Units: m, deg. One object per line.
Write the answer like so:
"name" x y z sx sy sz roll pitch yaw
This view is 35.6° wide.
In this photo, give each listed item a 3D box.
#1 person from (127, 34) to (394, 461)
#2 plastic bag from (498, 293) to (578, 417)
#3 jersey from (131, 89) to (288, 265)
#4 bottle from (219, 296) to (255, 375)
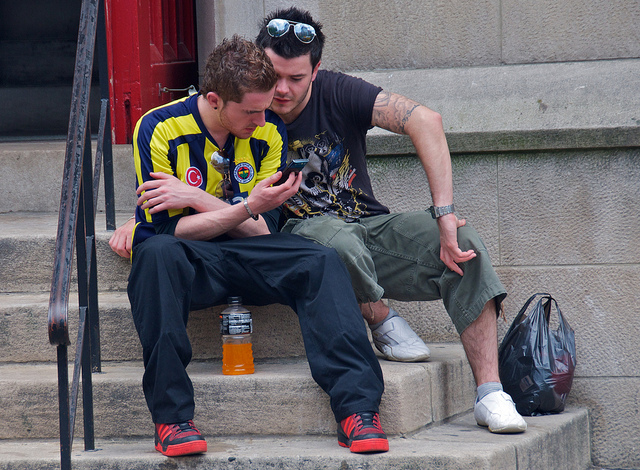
"person" -0.417 0.027 5.851 1.363 2.418 0.892 -2 4 -4
"plastic bag" 1.470 0.797 6.695 0.507 0.789 0.567 6 5 38
"jersey" -0.606 -0.389 6.222 0.961 0.977 0.480 -5 24 -6
"bottle" -0.505 0.606 6.027 0.189 0.465 0.157 -3 4 -7
